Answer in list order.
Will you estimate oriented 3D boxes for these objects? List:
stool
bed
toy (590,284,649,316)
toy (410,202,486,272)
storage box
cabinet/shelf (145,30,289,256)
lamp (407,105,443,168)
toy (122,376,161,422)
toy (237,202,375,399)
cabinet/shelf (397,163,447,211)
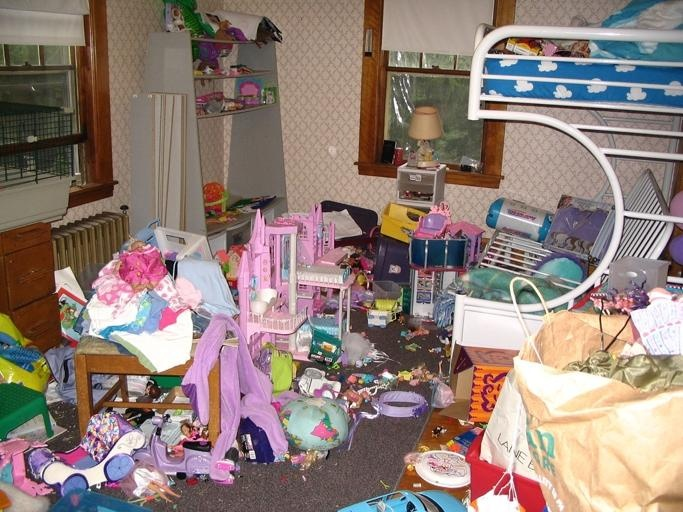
[{"bbox_3d":[-1.188,0.689,3.224,0.924,0.729,0.666,0,5,-4],"label":"stool"},{"bbox_3d":[1.316,-0.237,3.139,1.217,2.181,0.501,8,21,12],"label":"bed"},{"bbox_3d":[1.030,0.167,1.907,0.218,0.104,0.138,-5,8,-12],"label":"toy"},{"bbox_3d":[1.015,-0.155,4.893,0.642,0.704,0.709,2,14,11],"label":"toy"},{"bbox_3d":[0.718,-0.108,5.158,0.787,0.587,0.826,8,20,6],"label":"storage box"},{"bbox_3d":[-1.418,-1.320,5.777,1.094,2.187,2.075,10,22,18],"label":"cabinet/shelf"},{"bbox_3d":[0.968,-1.410,5.888,0.364,0.643,0.571,6,21,6],"label":"lamp"},{"bbox_3d":[-1.380,0.989,3.510,0.204,0.076,0.253,8,41,-39],"label":"toy"},{"bbox_3d":[-0.251,0.264,4.094,0.817,1.271,1.319,10,22,17],"label":"toy"},{"bbox_3d":[0.913,-0.843,5.913,0.607,0.592,0.479,5,14,16],"label":"cabinet/shelf"}]
